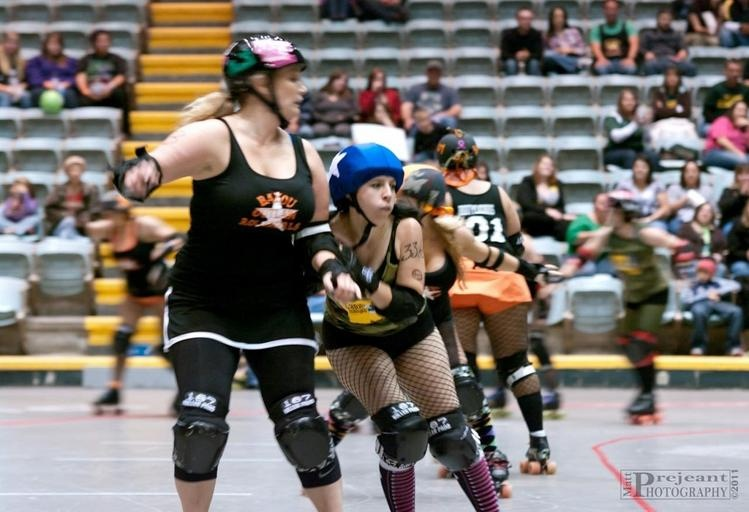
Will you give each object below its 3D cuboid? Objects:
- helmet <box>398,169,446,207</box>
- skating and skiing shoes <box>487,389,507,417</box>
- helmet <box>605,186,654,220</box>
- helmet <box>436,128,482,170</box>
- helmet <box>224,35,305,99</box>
[{"bbox_3d":[0.398,-0.616,11.654,0.388,0.356,0.280,-9,16,-4],"label":"helmet"},{"bbox_3d":[1.342,1.594,14.703,0.209,0.308,0.144,2,7,15],"label":"skating and skiing shoes"},{"bbox_3d":[2.540,-0.609,14.143,0.588,0.217,0.450,17,4,23],"label":"helmet"},{"bbox_3d":[0.765,-0.991,12.480,0.425,0.356,0.561,0,3,-4],"label":"helmet"},{"bbox_3d":[-0.914,-1.631,10.890,0.644,0.320,0.419,-5,16,-4],"label":"helmet"}]
